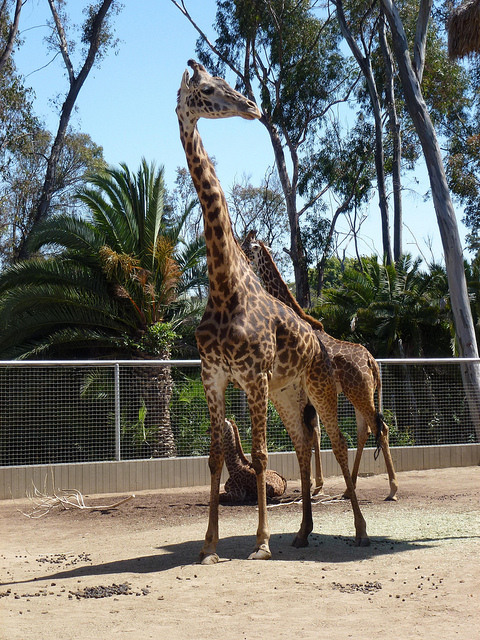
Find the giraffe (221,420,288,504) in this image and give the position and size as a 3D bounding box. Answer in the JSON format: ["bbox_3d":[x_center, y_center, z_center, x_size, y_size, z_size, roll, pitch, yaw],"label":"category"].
[{"bbox_3d":[0.102,1.689,8.812,0.801,1.324,0.429,0,-36,-12],"label":"giraffe"}]

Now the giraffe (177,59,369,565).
[{"bbox_3d":[0.205,-0.045,6.327,1.231,3.885,3.227,-6,-11,7],"label":"giraffe"}]
